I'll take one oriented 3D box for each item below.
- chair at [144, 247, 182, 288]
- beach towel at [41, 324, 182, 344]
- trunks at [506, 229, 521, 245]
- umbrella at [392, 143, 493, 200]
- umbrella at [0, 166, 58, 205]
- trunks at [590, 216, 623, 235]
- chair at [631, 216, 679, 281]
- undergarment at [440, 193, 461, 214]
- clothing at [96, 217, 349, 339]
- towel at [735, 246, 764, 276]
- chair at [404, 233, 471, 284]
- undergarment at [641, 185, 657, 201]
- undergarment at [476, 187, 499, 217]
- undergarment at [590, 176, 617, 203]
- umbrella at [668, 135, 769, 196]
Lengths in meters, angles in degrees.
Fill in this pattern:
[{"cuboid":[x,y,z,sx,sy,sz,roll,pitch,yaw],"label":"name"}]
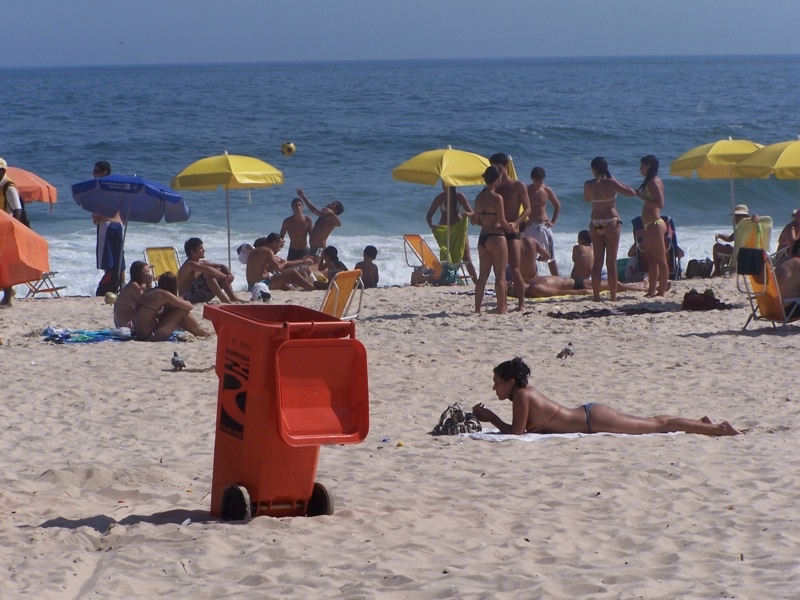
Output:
[{"cuboid":[-3.303,-0.537,15.812,0.477,0.439,0.631,-14,35,-12],"label":"chair"},{"cuboid":[-3.380,0.348,12.182,1.028,0.120,0.710,-2,8,-6],"label":"beach towel"},{"cuboid":[1.324,-0.753,13.098,0.142,0.150,0.139,3,17,3],"label":"trunks"},{"cuboid":[0.583,-1.820,15.430,1.241,0.523,0.965,0,8,3],"label":"umbrella"},{"cuboid":[-4.960,-1.551,15.353,0.583,0.281,0.607,3,6,-4],"label":"umbrella"},{"cuboid":[2.479,-0.913,13.546,0.253,0.123,0.247,-5,-14,42],"label":"trunks"},{"cuboid":[3.569,-0.736,15.593,0.672,0.893,1.453,1,8,12],"label":"chair"},{"cuboid":[0.742,-1.434,16.409,0.290,0.285,0.158,0,-6,-7],"label":"undergarment"},{"cuboid":[-2.352,-0.262,13.186,2.175,1.186,0.725,-15,14,-26],"label":"clothing"},{"cuboid":[3.639,-0.426,11.699,0.294,0.253,0.258,5,10,37],"label":"towel"},{"cuboid":[0.388,-0.656,17.219,0.649,0.843,1.178,-6,10,-42],"label":"chair"},{"cuboid":[2.990,-1.293,13.454,0.177,0.242,0.128,-4,5,4],"label":"undergarment"},{"cuboid":[1.019,-1.126,12.963,0.309,0.354,0.187,8,17,42],"label":"undergarment"},{"cuboid":[2.460,-1.353,13.637,0.364,0.501,0.262,-1,3,7],"label":"undergarment"},{"cuboid":[4.510,-2.011,16.026,1.075,0.801,1.034,4,9,43],"label":"umbrella"}]
